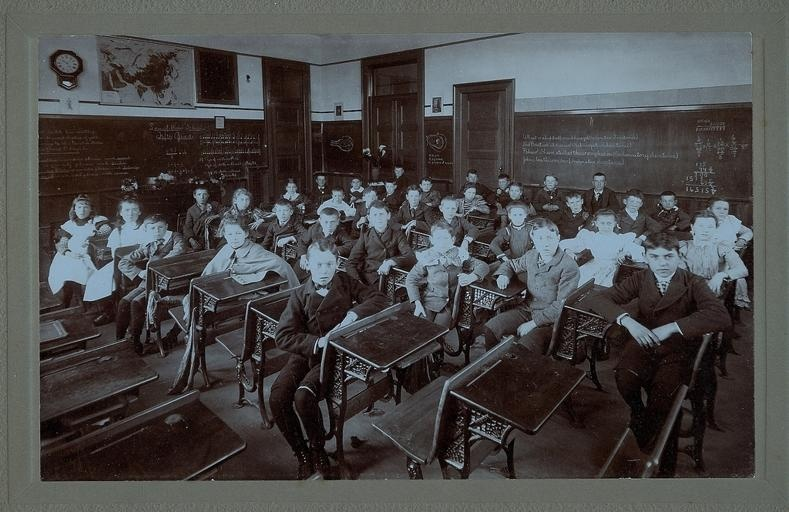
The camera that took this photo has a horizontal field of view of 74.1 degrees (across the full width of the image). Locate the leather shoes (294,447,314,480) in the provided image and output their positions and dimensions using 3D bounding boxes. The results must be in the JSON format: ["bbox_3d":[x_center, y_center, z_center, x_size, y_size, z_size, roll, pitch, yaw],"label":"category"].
[{"bbox_3d":[-0.446,1.031,2.595,0.086,0.109,0.094,-6,14,-13],"label":"leather shoes"}]

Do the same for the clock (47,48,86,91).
[{"bbox_3d":[-1.596,-0.908,2.522,0.190,0.246,0.034,-9,17,-38],"label":"clock"}]

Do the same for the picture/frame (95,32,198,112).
[{"bbox_3d":[-1.286,-0.941,2.702,0.463,0.339,0.261,-9,15,-26],"label":"picture/frame"}]

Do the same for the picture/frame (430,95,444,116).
[{"bbox_3d":[0.267,-0.938,3.233,0.110,0.146,0.016,9,20,28],"label":"picture/frame"}]
